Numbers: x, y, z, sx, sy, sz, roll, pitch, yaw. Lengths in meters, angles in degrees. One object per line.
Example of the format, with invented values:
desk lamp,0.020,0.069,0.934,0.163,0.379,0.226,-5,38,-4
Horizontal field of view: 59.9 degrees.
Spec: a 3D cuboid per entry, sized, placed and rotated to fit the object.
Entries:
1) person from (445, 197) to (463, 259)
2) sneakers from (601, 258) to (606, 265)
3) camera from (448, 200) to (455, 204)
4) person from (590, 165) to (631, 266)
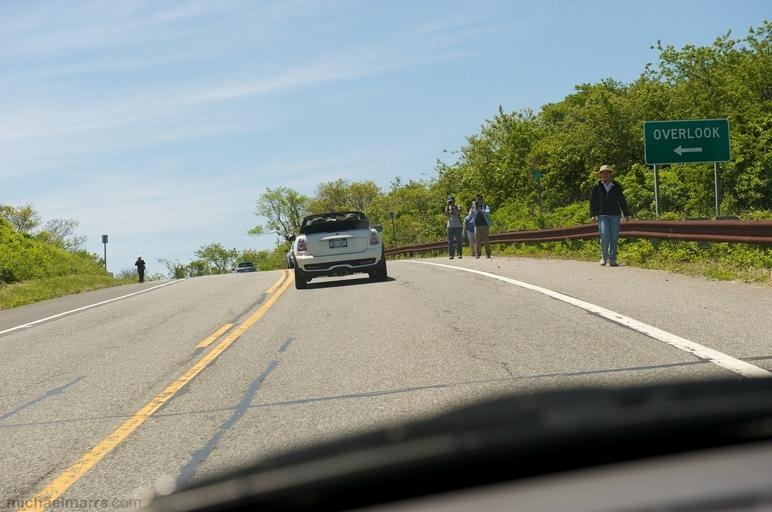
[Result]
person,2.424,-0.930,23.374,0.450,2.170,1.304,-4,5,3
sneakers,5.029,0.148,15.385,0.108,0.147,0.068,-4,-12,30
camera,2.273,-1.843,22.942,0.200,0.169,0.407,-4,5,2
person,5.132,-0.905,15.246,0.812,2.260,1.193,-3,5,19
